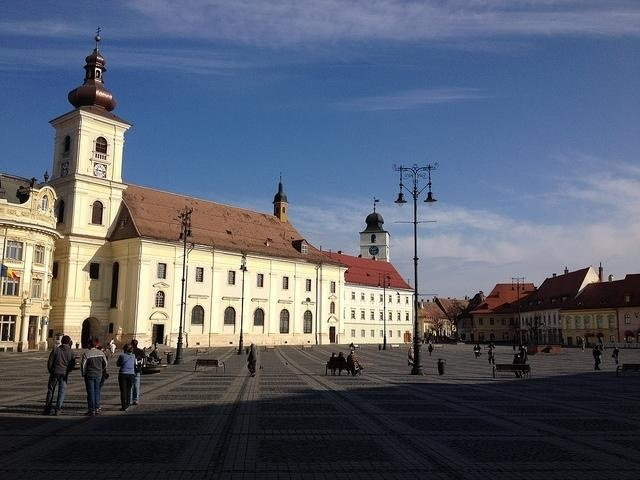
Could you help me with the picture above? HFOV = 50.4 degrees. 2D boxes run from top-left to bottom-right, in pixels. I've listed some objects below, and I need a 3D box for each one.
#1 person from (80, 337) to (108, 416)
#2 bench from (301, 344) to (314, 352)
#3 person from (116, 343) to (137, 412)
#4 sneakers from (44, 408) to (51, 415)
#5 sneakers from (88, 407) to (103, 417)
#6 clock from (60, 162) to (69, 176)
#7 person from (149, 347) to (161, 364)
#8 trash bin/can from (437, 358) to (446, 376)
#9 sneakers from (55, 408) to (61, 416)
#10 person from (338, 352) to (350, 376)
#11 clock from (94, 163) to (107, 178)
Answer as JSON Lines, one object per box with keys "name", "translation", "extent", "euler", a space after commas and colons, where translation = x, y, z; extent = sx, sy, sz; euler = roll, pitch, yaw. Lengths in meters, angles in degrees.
{"name": "person", "translation": [-7.960, 4.789, 23.848], "extent": [0.800, 2.677, 0.783], "euler": [1, -12, -17]}
{"name": "bench", "translation": [-1.450, 11.416, 72.609], "extent": [1.758, 0.850, 1.772], "euler": [0, -15, -3]}
{"name": "person", "translation": [-7.148, 5.057, 25.140], "extent": [0.677, 2.411, 1.548], "euler": [1, -12, -15]}
{"name": "sneakers", "translation": [-9.528, 5.967, 23.661], "extent": [0.242, 0.217, 0.361], "euler": [2, -12, -23]}
{"name": "sneakers", "translation": [-7.817, 5.991, 23.613], "extent": [0.567, 0.253, 0.186], "euler": [1, -14, 17]}
{"name": "clock", "translation": [-26.647, -7.284, 70.790], "extent": [1.468, 1.992, 0.203], "euler": [-7, -10, 36]}
{"name": "person", "translation": [-9.428, 6.618, 38.560], "extent": [0.535, 1.020, 3.853], "euler": [1, -12, -14]}
{"name": "trash bin/can", "translation": [6.871, 7.199, 38.527], "extent": [0.809, 1.085, 0.753], "euler": [-1, -8, 11]}
{"name": "sneakers", "translation": [-9.181, 6.025, 23.723], "extent": [0.204, 0.206, 0.504], "euler": [2, -12, -21]}
{"name": "person", "translation": [1.179, 6.932, 38.184], "extent": [1.155, 1.077, 0.320], "euler": [0, -8, -14]}
{"name": "clock", "translation": [-23.078, -7.205, 71.122], "extent": [0.223, 1.543, 1.621], "euler": [-12, -15, 41]}
